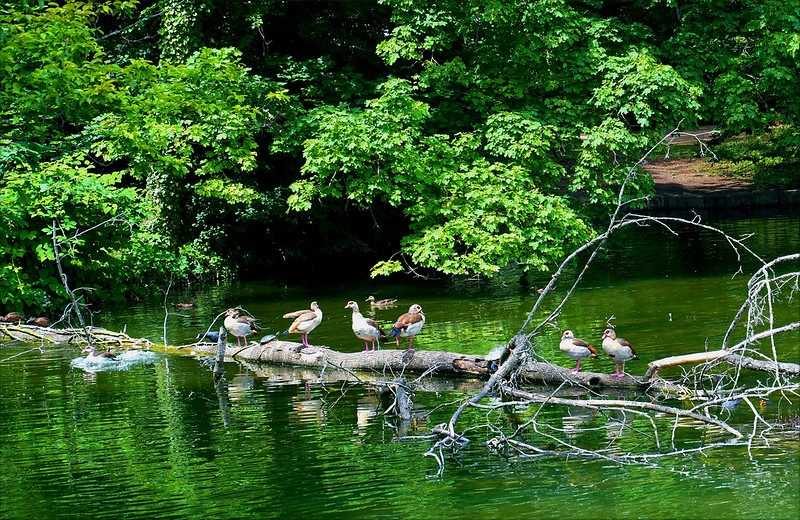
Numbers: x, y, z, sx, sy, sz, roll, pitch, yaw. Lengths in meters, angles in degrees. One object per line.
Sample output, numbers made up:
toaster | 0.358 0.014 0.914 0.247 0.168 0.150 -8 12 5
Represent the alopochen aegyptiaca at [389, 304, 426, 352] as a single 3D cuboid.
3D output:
alopochen aegyptiaca | 0.135 1.616 23.829 0.589 1.013 1.360 -5 -7 39
